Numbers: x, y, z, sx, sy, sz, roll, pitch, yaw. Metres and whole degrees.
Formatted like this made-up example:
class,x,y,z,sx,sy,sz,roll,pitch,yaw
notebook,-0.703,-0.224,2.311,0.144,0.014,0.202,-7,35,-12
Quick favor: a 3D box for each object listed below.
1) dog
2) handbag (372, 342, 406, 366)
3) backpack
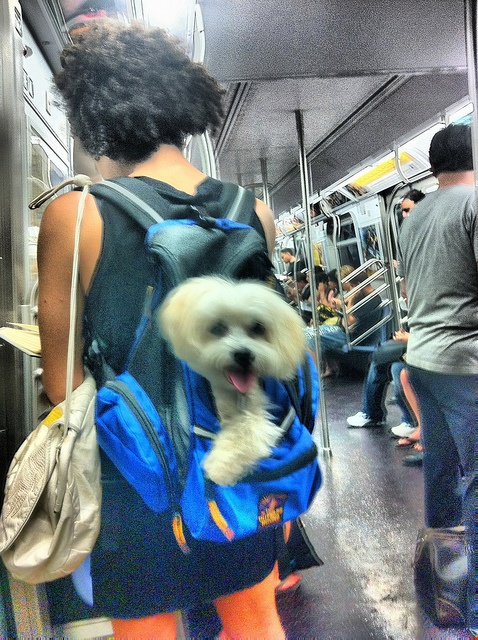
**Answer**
class,x,y,z,sx,sy,sz,roll,pitch,yaw
dog,-0.006,0.079,1.011,0.383,0.459,0.347,-2,4,-15
handbag,0.634,0.144,2.023,0.072,0.044,0.121,-16,-7,-27
backpack,-0.055,0.071,0.996,0.506,0.675,0.388,-15,17,-40
